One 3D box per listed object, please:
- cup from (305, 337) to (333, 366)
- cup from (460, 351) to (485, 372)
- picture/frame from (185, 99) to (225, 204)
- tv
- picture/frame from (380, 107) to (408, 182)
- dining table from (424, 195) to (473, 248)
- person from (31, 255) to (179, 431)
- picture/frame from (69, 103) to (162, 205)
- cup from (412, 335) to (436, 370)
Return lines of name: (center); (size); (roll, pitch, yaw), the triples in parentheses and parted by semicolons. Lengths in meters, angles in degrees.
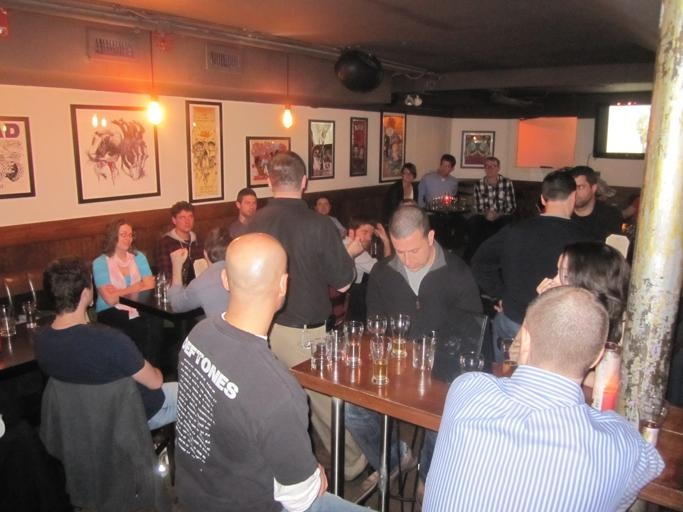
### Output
cup: (-0.116, 0.544, 3.083); (0.101, 0.145, 0.165); (0, 1, 21)
cup: (0.666, 0.544, 2.826); (0.101, 0.082, 0.109); (1, -7, 0)
picture/frame: (-1.615, -1.227, 6.518); (0.090, 1.152, 0.508); (4, 11, 38)
tv: (4.716, -2.193, 9.332); (0.222, 1.059, 0.985); (-9, 10, -34)
picture/frame: (0.922, -2.028, 9.904); (0.104, 1.543, 1.312); (10, 16, 34)
dining table: (1.788, -0.488, 9.062); (0.825, 0.936, 0.903); (8, 18, 37)
person: (-1.387, 0.417, 3.084); (0.553, 0.799, 0.334); (-2, 9, 6)
picture/frame: (-2.345, -1.060, 5.617); (0.045, 1.000, 0.961); (12, 19, 41)
cup: (0.445, 0.537, 3.096); (0.133, 0.185, 0.174); (0, 9, -10)
